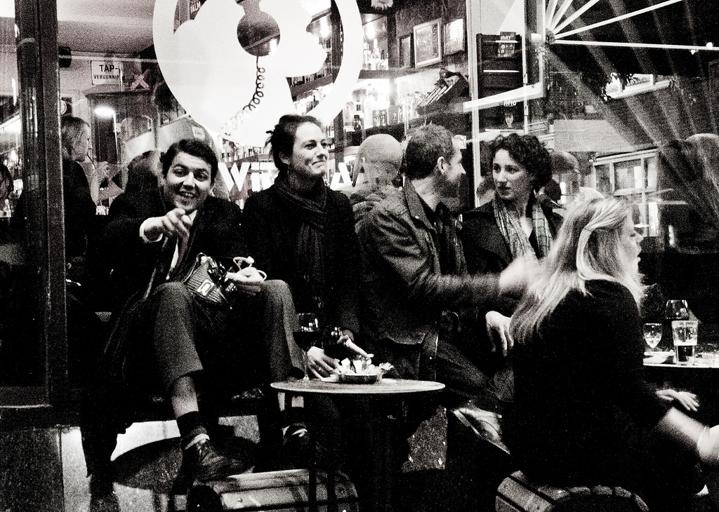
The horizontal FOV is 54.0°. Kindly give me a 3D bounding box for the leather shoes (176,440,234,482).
[{"bbox_3d":[-0.696,0.951,3.288,0.247,0.180,0.156,-4,-1,0],"label":"leather shoes"}]

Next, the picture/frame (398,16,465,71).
[{"bbox_3d":[0.357,-1.093,3.623,0.272,0.191,0.020,-12,3,-28],"label":"picture/frame"}]

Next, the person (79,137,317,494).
[{"bbox_3d":[-0.806,0.261,3.340,1.008,1.469,0.303,-4,2,-22],"label":"person"}]

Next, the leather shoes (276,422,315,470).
[{"bbox_3d":[-0.316,0.919,3.393,0.180,0.268,0.069,3,8,23],"label":"leather shoes"}]

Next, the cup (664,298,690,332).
[{"bbox_3d":[1.772,0.330,4.008,0.147,0.152,0.154,1,-6,0],"label":"cup"}]
